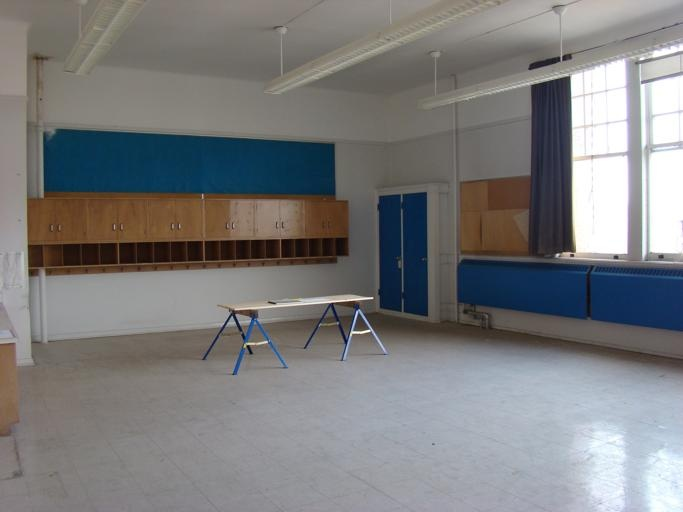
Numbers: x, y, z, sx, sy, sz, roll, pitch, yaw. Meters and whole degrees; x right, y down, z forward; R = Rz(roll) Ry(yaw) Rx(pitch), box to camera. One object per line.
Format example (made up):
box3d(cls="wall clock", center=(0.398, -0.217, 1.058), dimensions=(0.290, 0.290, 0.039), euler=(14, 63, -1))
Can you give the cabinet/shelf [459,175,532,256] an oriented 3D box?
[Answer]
box3d(cls="cabinet/shelf", center=(2.752, -0.707, 8.933), dimensions=(0.482, 1.386, 1.479), euler=(1, 0, -34))
